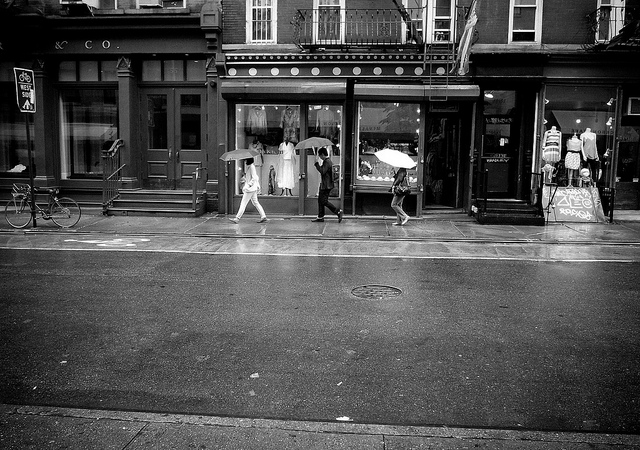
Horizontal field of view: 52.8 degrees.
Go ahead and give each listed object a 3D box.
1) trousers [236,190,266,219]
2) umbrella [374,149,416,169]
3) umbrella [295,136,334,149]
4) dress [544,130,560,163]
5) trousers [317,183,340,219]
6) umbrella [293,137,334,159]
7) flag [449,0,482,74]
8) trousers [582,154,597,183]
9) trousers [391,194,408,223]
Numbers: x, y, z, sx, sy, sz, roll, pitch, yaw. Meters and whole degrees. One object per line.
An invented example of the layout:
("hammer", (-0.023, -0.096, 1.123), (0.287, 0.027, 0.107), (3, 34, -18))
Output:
("trousers", (-2.020, -0.597, 19.095), (0.798, 0.902, 1.189), (0, 7, 5))
("umbrella", (2.120, -1.838, 18.074), (1.011, 0.512, 0.704), (6, 10, 42))
("umbrella", (-0.191, -2.390, 18.798), (1.020, 0.322, 0.601), (-1, 8, -2))
("dress", (7.076, -2.350, 19.605), (0.485, 1.135, 0.391), (1, -16, 20))
("trousers", (0.226, -0.722, 19.233), (0.594, 1.067, 1.135), (-1, 7, 0))
("umbrella", (-0.126, -2.343, 19.568), (0.732, 0.477, 0.763), (-4, 2, 0))
("flag", (4.229, -5.601, 18.875), (0.892, 2.204, 1.736), (1, 7, 14))
("trousers", (8.526, -1.728, 20.416), (0.481, 0.743, 0.203), (-2, 7, -6))
("trousers", (2.303, -0.478, 18.671), (0.404, 0.844, 0.451), (-2, 7, -10))
